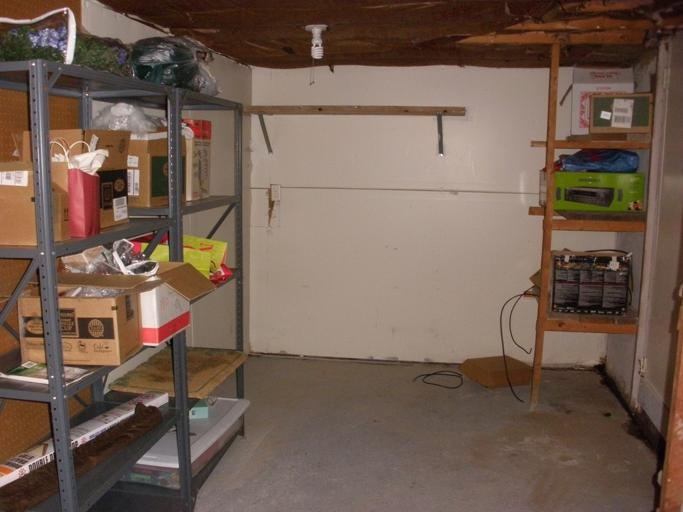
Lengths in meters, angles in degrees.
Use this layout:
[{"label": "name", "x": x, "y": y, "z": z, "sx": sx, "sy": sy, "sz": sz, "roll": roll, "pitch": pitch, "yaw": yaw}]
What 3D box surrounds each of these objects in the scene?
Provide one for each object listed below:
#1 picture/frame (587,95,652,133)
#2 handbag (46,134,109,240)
[{"label": "picture/frame", "x": 1.760, "y": -0.896, "z": 3.587, "sx": 0.399, "sy": 0.233, "sz": 0.087, "roll": 1, "pitch": 7, "yaw": 14}, {"label": "handbag", "x": -1.020, "y": -0.277, "z": 2.232, "sx": 0.205, "sy": 0.385, "sz": 0.274, "roll": -3, "pitch": 11, "yaw": -24}]
